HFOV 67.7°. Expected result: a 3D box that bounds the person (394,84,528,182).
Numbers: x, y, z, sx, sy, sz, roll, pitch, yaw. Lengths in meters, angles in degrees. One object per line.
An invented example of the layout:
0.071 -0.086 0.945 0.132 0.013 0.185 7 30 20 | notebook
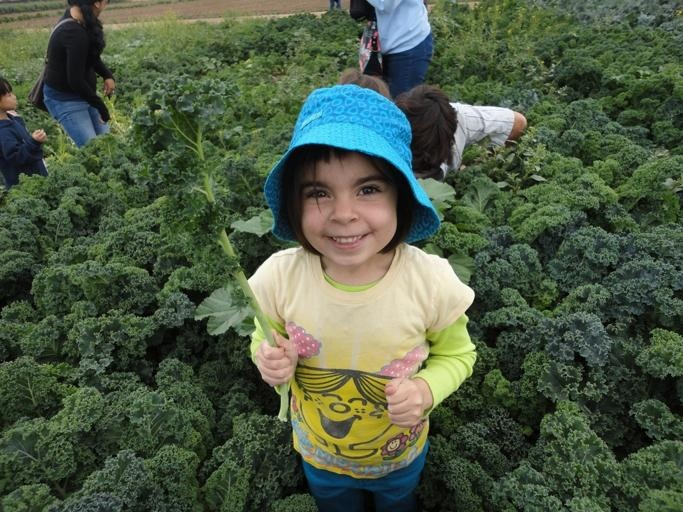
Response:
1.058 -1.507 6.075 1.893 0.768 1.533 -14 21 -43 | person

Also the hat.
0.083 -0.483 2.882 0.825 0.634 0.968 3 4 -8 | hat
